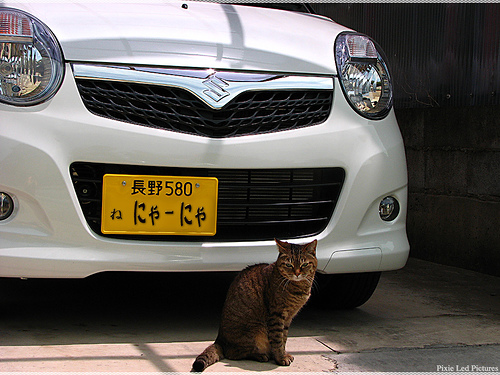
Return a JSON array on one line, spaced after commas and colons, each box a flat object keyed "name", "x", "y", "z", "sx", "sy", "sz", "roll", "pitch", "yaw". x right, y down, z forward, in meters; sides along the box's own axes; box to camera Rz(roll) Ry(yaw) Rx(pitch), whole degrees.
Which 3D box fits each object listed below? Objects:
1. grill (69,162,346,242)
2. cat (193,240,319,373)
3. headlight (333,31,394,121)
[{"name": "grill", "x": -0.166, "y": 0.069, "z": 2.094, "sx": 1.264, "sy": 0.361, "sz": 0.166, "roll": 2, "pitch": 0, "yaw": -17}, {"name": "cat", "x": -0.009, "y": 0.466, "z": 1.895, "sx": 0.543, "sy": 0.537, "sz": 0.302, "roll": 2, "pitch": 0, "yaw": -25}, {"name": "headlight", "x": 0.587, "y": -0.607, "z": 2.410, "sx": 0.314, "sy": 0.441, "sz": 0.143, "roll": -5, "pitch": 1, "yaw": -11}]
